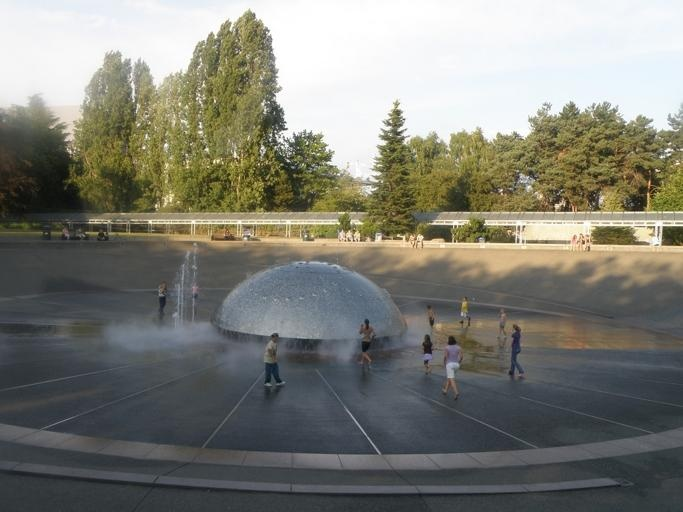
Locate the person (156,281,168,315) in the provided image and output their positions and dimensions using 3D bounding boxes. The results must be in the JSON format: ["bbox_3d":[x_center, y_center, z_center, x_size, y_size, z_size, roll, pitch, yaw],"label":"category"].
[{"bbox_3d":[-7.366,1.622,27.980,0.362,1.334,2.845,-1,8,-15],"label":"person"}]

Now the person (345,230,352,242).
[{"bbox_3d":[0.771,-2.072,69.292,0.708,1.077,0.385,9,3,23],"label":"person"}]

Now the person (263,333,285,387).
[{"bbox_3d":[-1.752,2.690,17.792,0.543,1.310,0.724,0,8,-7],"label":"person"}]
